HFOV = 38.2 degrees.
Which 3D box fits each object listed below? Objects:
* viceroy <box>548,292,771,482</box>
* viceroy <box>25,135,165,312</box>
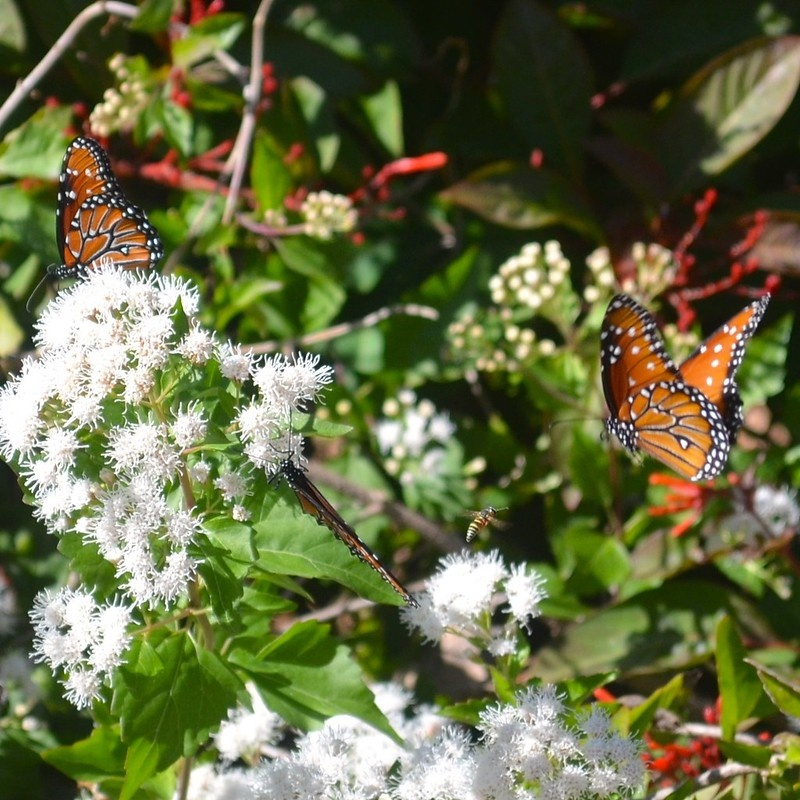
[{"bbox_3d":[0.569,-0.029,2.412,0.290,0.433,0.354,17,99,21],"label":"viceroy"},{"bbox_3d":[-0.590,-0.467,2.362,0.255,0.518,0.253,3,61,-9],"label":"viceroy"}]
